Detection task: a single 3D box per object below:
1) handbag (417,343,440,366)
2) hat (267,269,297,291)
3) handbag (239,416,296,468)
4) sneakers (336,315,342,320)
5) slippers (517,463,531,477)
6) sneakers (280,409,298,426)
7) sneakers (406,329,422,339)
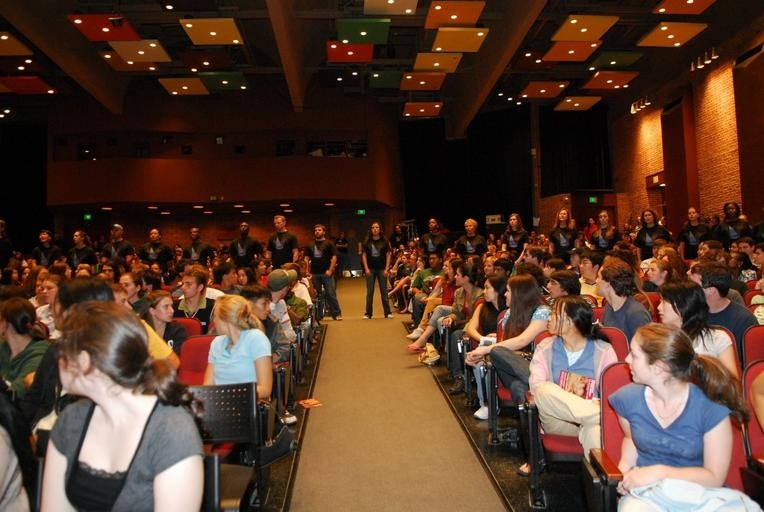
[{"bbox_3d":[0.583,1.228,6.727,0.287,0.243,0.704,0,-2,3],"label":"handbag"},{"bbox_3d":[-1.066,0.255,5.888,0.338,0.167,0.202,-28,39,-34],"label":"hat"},{"bbox_3d":[-0.784,1.297,3.712,0.321,0.156,0.418,-5,3,35],"label":"handbag"},{"bbox_3d":[-0.788,1.112,9.713,0.069,0.074,0.199,-2,-7,-4],"label":"sneakers"},{"bbox_3d":[1.036,1.553,3.909,0.078,0.070,0.203,-1,-16,3],"label":"slippers"},{"bbox_3d":[-0.766,1.310,4.387,0.163,0.078,0.272,4,-2,-19],"label":"sneakers"},{"bbox_3d":[0.463,1.098,7.599,0.102,0.107,0.264,5,-7,-26],"label":"sneakers"}]
